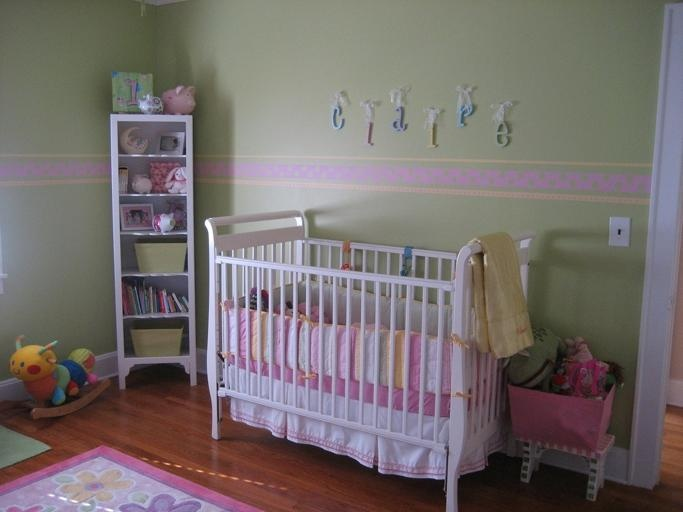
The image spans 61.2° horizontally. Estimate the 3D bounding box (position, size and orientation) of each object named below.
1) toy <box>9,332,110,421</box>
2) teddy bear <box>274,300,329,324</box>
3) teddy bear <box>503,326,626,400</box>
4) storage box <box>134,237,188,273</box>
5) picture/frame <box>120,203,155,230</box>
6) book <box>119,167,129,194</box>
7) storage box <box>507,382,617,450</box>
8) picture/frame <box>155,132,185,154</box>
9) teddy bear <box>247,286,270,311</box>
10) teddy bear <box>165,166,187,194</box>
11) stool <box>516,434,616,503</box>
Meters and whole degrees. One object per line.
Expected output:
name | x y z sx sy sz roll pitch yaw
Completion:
toy | -1.896 0.792 3.841 0.348 0.476 0.611 2 4 24
teddy bear | -0.254 0.339 3.504 0.161 0.083 0.228 6 -8 9
teddy bear | 1.158 0.515 3.031 0.447 0.203 0.366 -1 -1 41
storage box | -1.311 -0.012 4.165 0.311 0.192 0.219 0 -1 -4
picture/frame | -1.488 -0.277 4.182 0.187 0.162 0.009 -4 -7 -41
book | -1.566 -0.545 4.162 0.053 0.182 0.228 -3 10 -15
storage box | 1.124 0.839 2.983 0.371 0.240 0.380 2 3 31
picture/frame | -1.237 -0.813 4.191 0.219 0.159 0.094 4 10 24
teddy bear | -0.498 0.262 3.467 0.075 0.090 0.216 -3 9 -22
teddy bear | -1.187 -0.545 4.178 0.229 0.186 0.090 5 11 30
stool | 1.201 1.082 3.139 0.417 0.266 0.228 0 6 28
